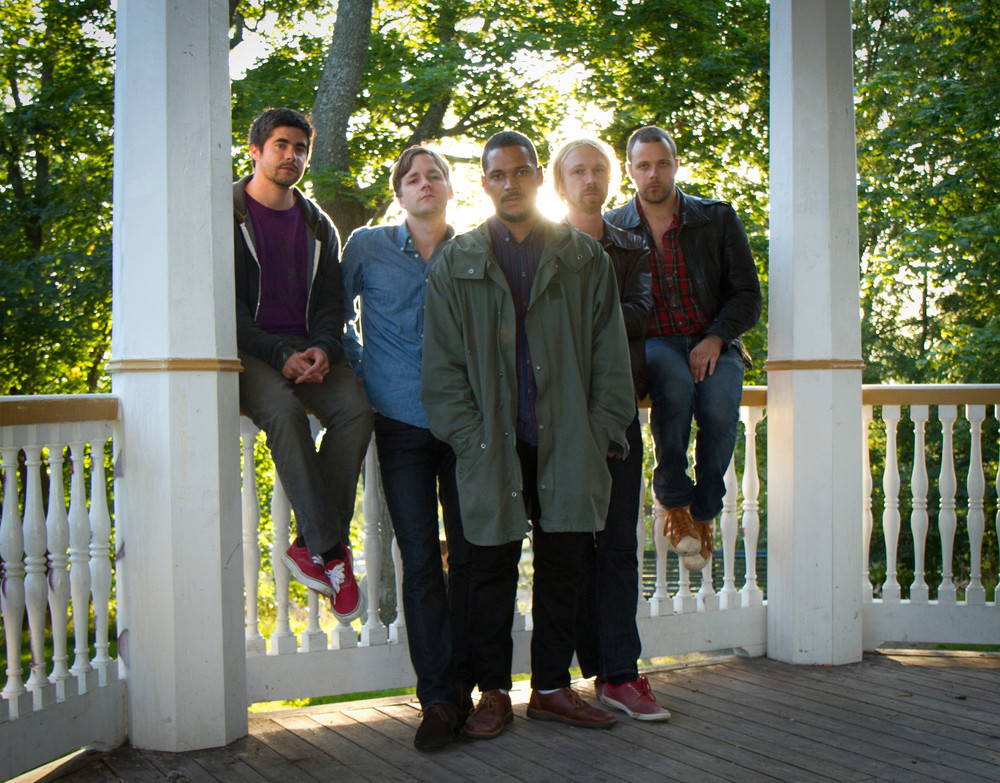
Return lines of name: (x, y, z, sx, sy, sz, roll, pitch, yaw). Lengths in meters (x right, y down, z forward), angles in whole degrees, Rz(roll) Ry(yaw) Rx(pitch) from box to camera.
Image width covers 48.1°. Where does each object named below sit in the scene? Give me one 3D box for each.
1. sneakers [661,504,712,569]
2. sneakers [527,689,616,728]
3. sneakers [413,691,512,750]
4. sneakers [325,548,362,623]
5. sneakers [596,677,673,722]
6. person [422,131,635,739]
sneakers: (0.904, 0.699, 5.422, 0.129, 0.249, 0.235, -26, 22, 9)
sneakers: (0.308, 1.393, 4.982, 0.386, 0.204, 0.152, 1, -7, 16)
sneakers: (-0.147, 1.427, 4.806, 0.190, 0.165, 0.365, -7, -12, 33)
sneakers: (-0.707, 0.850, 4.974, 0.145, 0.163, 0.433, -17, 29, -5)
sneakers: (0.603, 1.399, 5.099, 0.370, 0.197, 0.133, 13, 4, 26)
person: (0.126, 0.181, 4.860, 0.909, 2.565, 0.532, -1, 11, -5)
